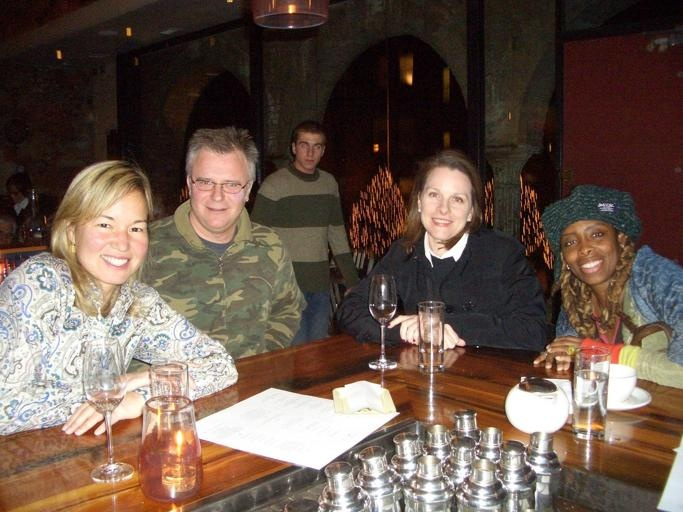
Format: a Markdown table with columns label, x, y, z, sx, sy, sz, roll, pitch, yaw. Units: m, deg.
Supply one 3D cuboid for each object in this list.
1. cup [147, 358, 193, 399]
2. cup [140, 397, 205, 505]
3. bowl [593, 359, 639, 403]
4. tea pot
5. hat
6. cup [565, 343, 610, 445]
| label | x | y | z | sx | sy | sz | roll | pitch | yaw |
| --- | --- | --- | --- | --- | --- | --- | --- | --- | --- |
| cup | -0.479 | 0.329 | 1.609 | 0.134 | 0.134 | 0.125 | 0 | -2 | 0 |
| cup | -0.382 | 0.430 | 1.266 | 0.128 | 0.229 | 0.099 | -1 | 13 | 3 |
| bowl | 0.814 | 0.369 | 1.689 | 0.118 | 0.088 | 0.129 | -1 | -5 | 0 |
| tea pot | 0.523 | 0.394 | 1.545 | 0.149 | 0.113 | 0.145 | -3 | -3 | 0 |
| hat | 1.104 | -0.150 | 2.521 | 0.307 | 0.284 | 0.390 | 0 | 3 | 30 |
| cup | 0.707 | 0.364 | 1.594 | 0.093 | 0.191 | 0.289 | 5 | 13 | 25 |
